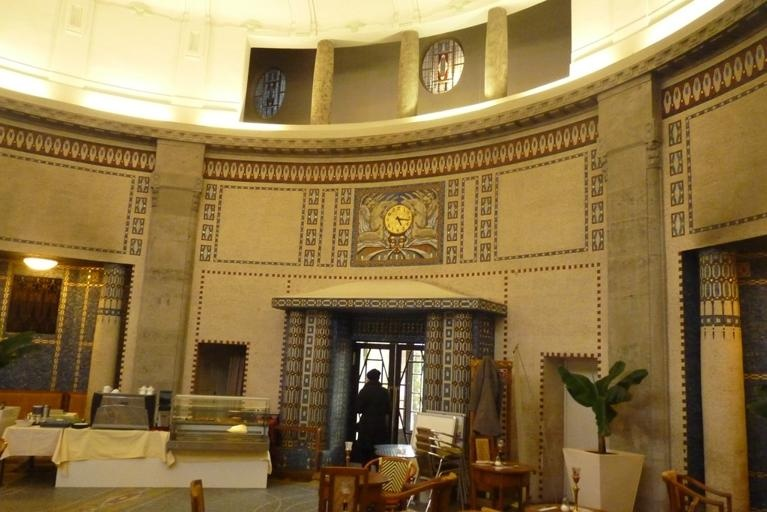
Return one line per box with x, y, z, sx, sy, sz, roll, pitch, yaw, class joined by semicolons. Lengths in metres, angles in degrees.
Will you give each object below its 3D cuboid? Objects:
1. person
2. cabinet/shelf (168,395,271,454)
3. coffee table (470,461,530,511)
-0.314;4.072;16.407;1.106;2.436;0.794;4;10;-5;person
-3.481;3.421;13.703;2.261;1.192;1.281;5;26;-8;cabinet/shelf
2.285;4.475;12.397;1.143;0.967;1.836;2;-14;8;coffee table
